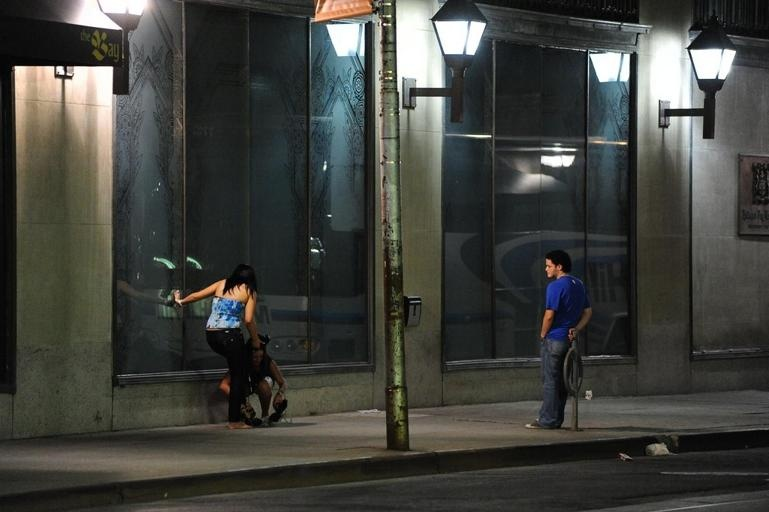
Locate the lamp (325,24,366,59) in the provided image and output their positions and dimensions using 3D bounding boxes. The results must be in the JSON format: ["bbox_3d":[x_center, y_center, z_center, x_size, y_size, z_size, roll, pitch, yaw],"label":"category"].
[{"bbox_3d":[-0.653,-3.667,16.863,0.528,0.494,0.642,-1,3,0],"label":"lamp"}]

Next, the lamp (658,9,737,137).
[{"bbox_3d":[6.024,-3.394,18.776,1.600,2.366,2.183,0,2,5],"label":"lamp"}]

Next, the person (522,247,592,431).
[{"bbox_3d":[2.596,1.267,14.968,0.898,2.660,0.631,0,2,-7],"label":"person"}]

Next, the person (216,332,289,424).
[{"bbox_3d":[-1.906,1.890,15.273,1.002,1.356,0.762,4,6,19],"label":"person"}]

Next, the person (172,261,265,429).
[{"bbox_3d":[-2.403,1.354,15.005,1.078,2.452,0.512,1,2,23],"label":"person"}]
